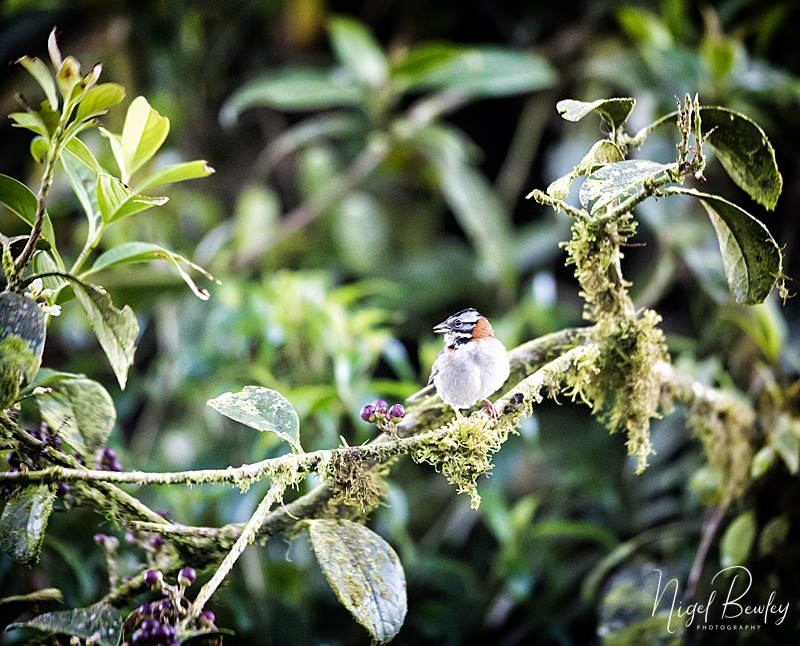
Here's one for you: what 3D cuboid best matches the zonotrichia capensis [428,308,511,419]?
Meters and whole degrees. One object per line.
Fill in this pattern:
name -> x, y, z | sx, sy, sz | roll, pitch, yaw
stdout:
zonotrichia capensis -> 0.172, 0.098, 2.568 | 0.168, 0.277, 0.274 | -18, 12, -5
